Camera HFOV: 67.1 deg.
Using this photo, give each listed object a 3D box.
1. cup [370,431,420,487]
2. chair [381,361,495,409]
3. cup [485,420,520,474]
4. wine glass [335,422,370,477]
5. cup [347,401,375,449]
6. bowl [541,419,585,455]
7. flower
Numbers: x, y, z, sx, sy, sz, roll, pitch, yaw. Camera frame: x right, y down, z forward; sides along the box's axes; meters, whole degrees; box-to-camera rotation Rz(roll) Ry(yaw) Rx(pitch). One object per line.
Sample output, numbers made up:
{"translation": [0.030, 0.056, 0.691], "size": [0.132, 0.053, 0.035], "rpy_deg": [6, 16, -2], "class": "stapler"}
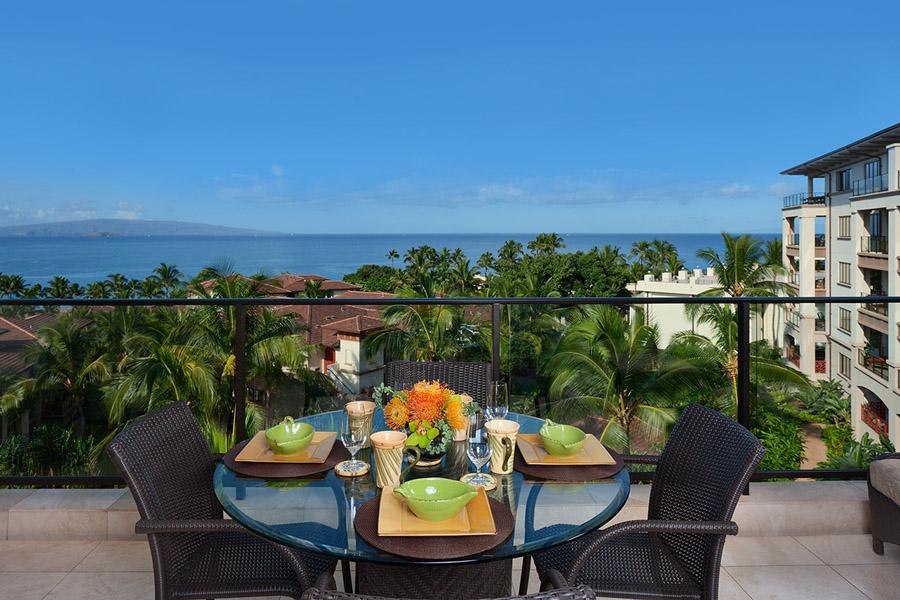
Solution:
{"translation": [-0.239, 0.633, 2.677], "size": [0.216, 0.195, 0.144], "rpy_deg": [1, 1, 20], "class": "cup"}
{"translation": [-0.050, 0.433, 3.677], "size": [0.389, 0.160, 0.293], "rpy_deg": [2, -3, 5], "class": "chair"}
{"translation": [0.216, 0.604, 2.877], "size": [0.146, 0.191, 0.206], "rpy_deg": [1, 3, 4], "class": "cup"}
{"translation": [-0.392, 0.617, 2.798], "size": [0.187, 0.200, 0.197], "rpy_deg": [1, -3, 2], "class": "wine glass"}
{"translation": [-0.371, 0.509, 2.802], "size": [0.180, 0.184, 0.169], "rpy_deg": [-1, -8, 0], "class": "cup"}
{"translation": [0.472, 0.586, 2.929], "size": [0.136, 0.071, 0.168], "rpy_deg": [3, 1, -11], "class": "bowl"}
{"translation": [-0.088, 0.449, 2.792], "size": [0.318, 0.218, 0.320], "rpy_deg": [21, 41, 31], "class": "flower"}
